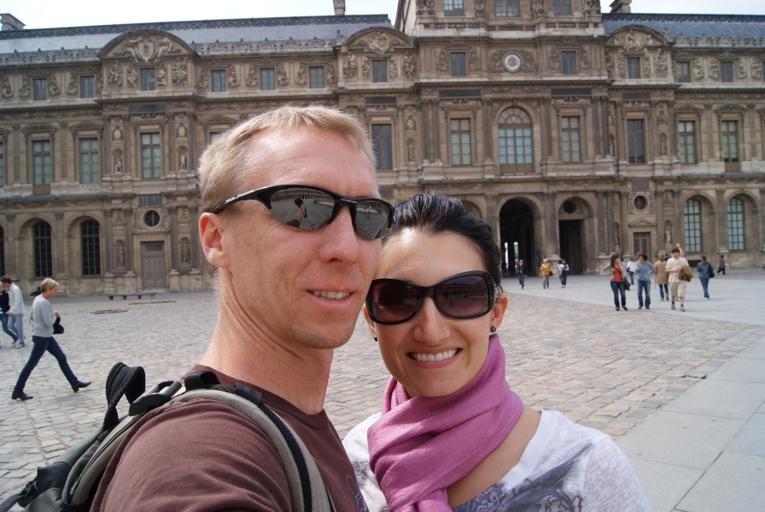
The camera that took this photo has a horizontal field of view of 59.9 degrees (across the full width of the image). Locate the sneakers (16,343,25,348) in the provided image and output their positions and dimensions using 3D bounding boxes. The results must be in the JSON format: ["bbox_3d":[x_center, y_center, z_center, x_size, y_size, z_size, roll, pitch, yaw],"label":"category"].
[{"bbox_3d":[-13.077,3.275,24.174,0.491,0.208,0.168,-2,2,35],"label":"sneakers"}]
